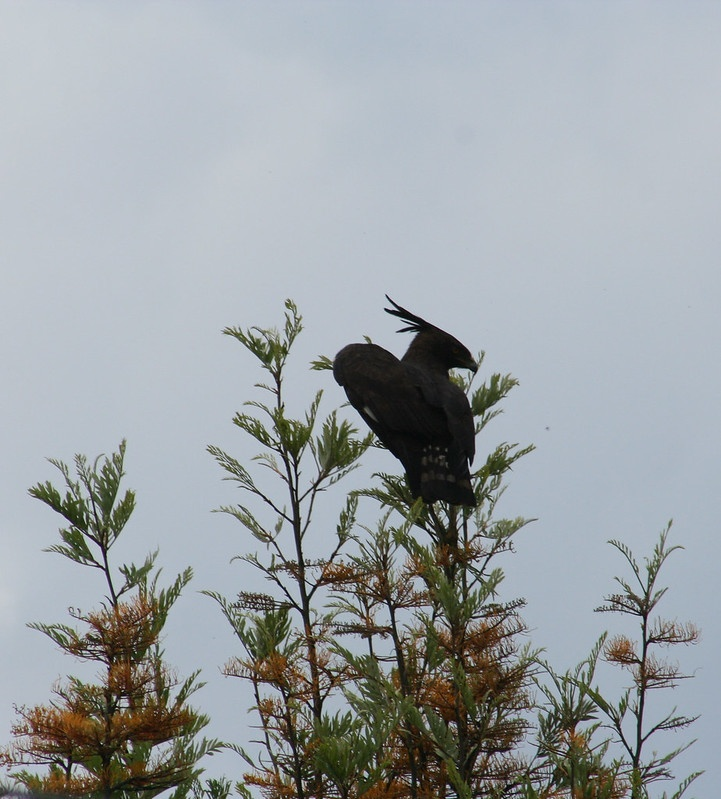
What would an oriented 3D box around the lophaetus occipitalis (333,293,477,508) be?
[{"bbox_3d":[0.240,0.110,10.061,0.551,1.222,0.546,-8,-25,9],"label":"lophaetus occipitalis"}]
